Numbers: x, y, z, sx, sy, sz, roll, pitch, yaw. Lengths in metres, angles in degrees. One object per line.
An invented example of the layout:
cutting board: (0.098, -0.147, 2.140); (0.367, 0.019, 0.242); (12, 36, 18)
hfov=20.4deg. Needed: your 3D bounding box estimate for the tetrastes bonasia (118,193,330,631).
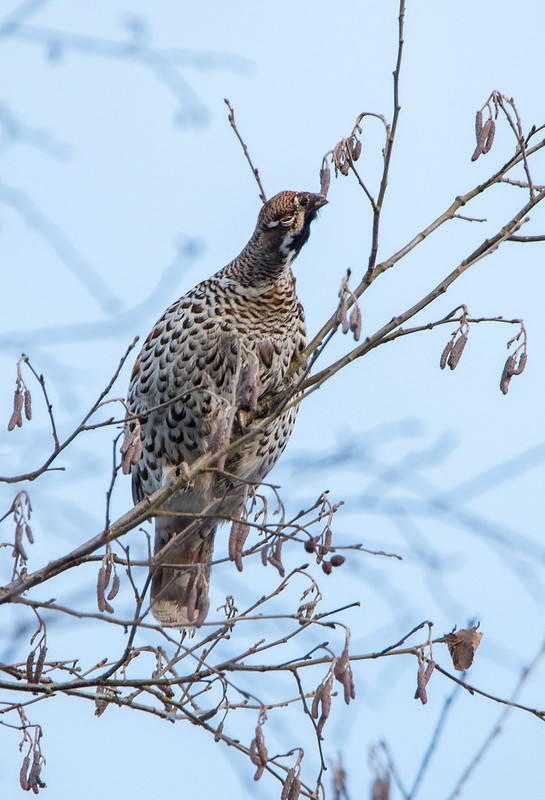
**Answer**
tetrastes bonasia: (-0.145, 0.013, 4.701); (0.399, 1.206, 1.076); (13, -45, -19)
